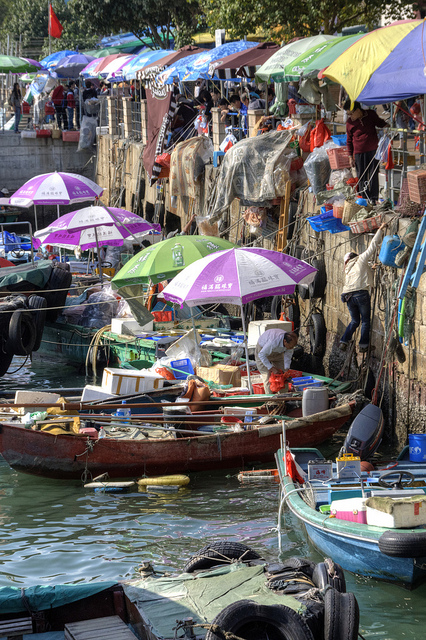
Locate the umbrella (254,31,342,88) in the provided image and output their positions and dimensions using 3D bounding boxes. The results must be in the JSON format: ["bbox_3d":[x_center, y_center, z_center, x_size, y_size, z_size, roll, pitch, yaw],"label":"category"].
[{"bbox_3d":[1.683,-5.386,15.002,1.587,0.622,1.550,-22,3,-23],"label":"umbrella"}]

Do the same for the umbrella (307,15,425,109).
[{"bbox_3d":[2.514,-3.667,10.643,2.246,0.796,2.182,-2,9,25],"label":"umbrella"}]

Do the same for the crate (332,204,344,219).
[{"bbox_3d":[2.207,-1.889,12.805,0.214,0.150,0.203,0,6,6],"label":"crate"}]

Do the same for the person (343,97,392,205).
[{"bbox_3d":[2.743,-2.949,12.983,0.727,1.827,1.371,1,5,10],"label":"person"}]

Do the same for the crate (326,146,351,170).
[{"bbox_3d":[2.286,-2.861,13.132,0.606,0.407,0.341,-7,2,-40],"label":"crate"}]

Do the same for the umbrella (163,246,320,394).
[{"bbox_3d":[0.503,0.024,12.572,2.387,2.440,2.276,3,19,32],"label":"umbrella"}]

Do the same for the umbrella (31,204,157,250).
[{"bbox_3d":[-3.277,-2.533,19.748,2.747,0.867,2.671,-5,-3,-44],"label":"umbrella"}]

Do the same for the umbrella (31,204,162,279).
[{"bbox_3d":[-3.442,-2.449,19.871,2.776,1.807,2.858,-12,-7,17],"label":"umbrella"}]

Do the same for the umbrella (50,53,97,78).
[{"bbox_3d":[-6.529,-11.941,33.763,1.463,0.449,1.402,-4,-10,-6],"label":"umbrella"}]

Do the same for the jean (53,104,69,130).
[{"bbox_3d":[-7.207,-9.555,34.448,0.507,0.898,1.421,0,5,-4],"label":"jean"}]

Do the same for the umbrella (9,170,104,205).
[{"bbox_3d":[-4.396,-3.579,19.989,2.220,0.947,1.026,-1,5,-12],"label":"umbrella"}]

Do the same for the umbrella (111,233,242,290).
[{"bbox_3d":[-0.794,-1.225,14.823,1.635,0.529,1.571,-14,-15,-25],"label":"umbrella"}]

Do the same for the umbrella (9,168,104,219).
[{"bbox_3d":[-4.483,-3.422,20.753,2.431,1.560,2.486,8,20,18],"label":"umbrella"}]

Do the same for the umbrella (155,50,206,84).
[{"bbox_3d":[-1.022,-7.235,21.047,1.583,0.694,1.488,-9,7,-1],"label":"umbrella"}]

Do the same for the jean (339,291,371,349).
[{"bbox_3d":[2.429,0.007,12.466,0.428,0.995,0.613,-3,6,-31],"label":"jean"}]

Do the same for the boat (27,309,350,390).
[{"bbox_3d":[-0.353,0.591,14.399,6.540,0.840,1.341,4,5,31],"label":"boat"}]
